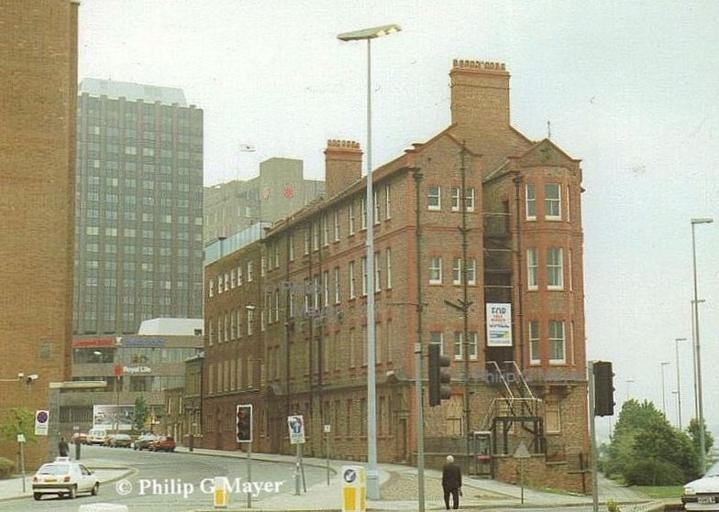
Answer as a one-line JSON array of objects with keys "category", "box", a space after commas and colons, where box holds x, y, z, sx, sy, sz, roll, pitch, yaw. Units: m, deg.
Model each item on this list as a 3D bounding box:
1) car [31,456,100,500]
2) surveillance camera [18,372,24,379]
[{"category": "car", "box": [-19.699, 14.916, 106.783, 4.231, 2.771, 2.019, 2, -13, -13]}, {"category": "surveillance camera", "box": [-25.978, 9.038, 122.572, 0.439, 0.550, 0.391, 2, -8, -14]}]
